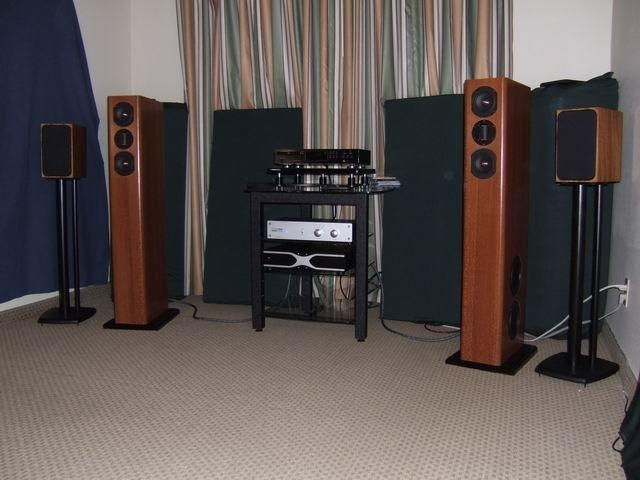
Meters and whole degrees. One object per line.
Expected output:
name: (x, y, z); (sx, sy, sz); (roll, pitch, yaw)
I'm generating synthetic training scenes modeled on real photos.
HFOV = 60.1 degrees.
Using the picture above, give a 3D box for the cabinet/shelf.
cabinet/shelf: (-0.065, 0.056, 3.590); (0.843, 0.893, 0.632); (1, 14, -6)

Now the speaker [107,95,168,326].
speaker: (-1.174, -0.195, 3.548); (0.299, 1.413, 0.461); (-1, 14, -3)

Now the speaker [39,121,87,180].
speaker: (-1.612, -0.557, 3.488); (0.280, 0.339, 0.204); (-8, 16, -29)

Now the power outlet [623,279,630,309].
power outlet: (1.596, 0.274, 2.879); (0.022, 0.147, 0.108); (5, 15, 23)

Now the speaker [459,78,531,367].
speaker: (0.948, -0.090, 2.913); (0.411, 1.464, 0.375); (-2, 14, -5)
